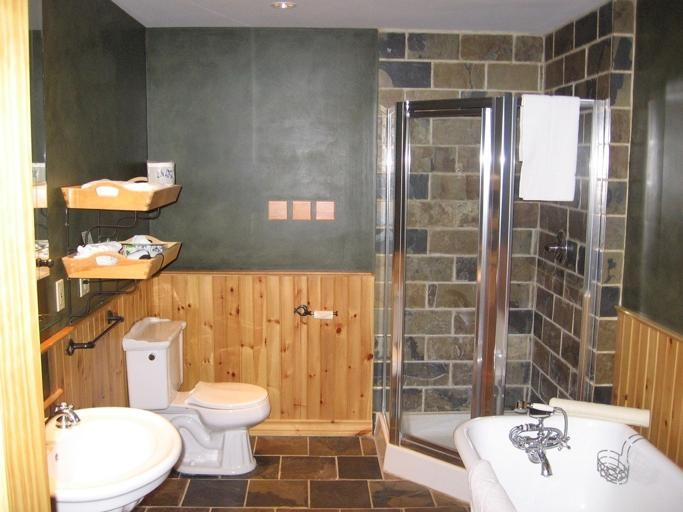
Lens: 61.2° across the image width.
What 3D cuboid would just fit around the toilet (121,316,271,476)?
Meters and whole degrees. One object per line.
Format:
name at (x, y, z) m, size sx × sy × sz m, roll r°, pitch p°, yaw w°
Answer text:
toilet at (-0.851, 0.883, 3.642) m, size 0.824 × 0.921 × 0.534 m, roll 0°, pitch 5°, yaw -5°

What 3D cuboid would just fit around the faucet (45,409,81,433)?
faucet at (-1.170, 0.679, 2.450) m, size 0.107 × 0.059 × 0.111 m, roll 4°, pitch 4°, yaw -8°

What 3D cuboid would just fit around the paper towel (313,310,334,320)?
paper towel at (-0.122, 0.396, 3.949) m, size 0.155 × 0.055 × 0.042 m, roll -3°, pitch 3°, yaw 0°

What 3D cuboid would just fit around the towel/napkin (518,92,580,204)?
towel/napkin at (1.051, -0.542, 2.908) m, size 0.291 × 0.518 × 0.123 m, roll 0°, pitch 14°, yaw 4°
